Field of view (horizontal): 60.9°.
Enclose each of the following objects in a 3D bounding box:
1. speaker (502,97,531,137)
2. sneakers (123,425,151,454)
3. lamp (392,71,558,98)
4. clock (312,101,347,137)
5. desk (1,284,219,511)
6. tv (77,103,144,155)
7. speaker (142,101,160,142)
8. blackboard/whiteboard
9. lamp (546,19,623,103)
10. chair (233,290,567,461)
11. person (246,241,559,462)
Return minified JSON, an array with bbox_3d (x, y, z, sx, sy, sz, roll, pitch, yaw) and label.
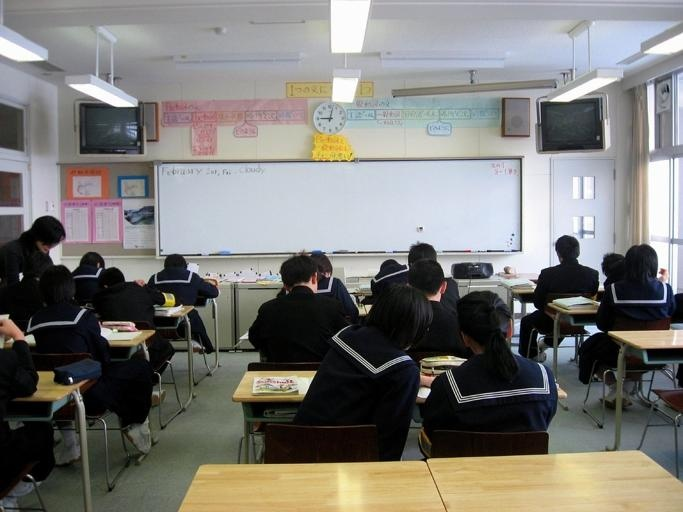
[{"bbox_3d":[2.267,-1.782,7.422,0.346,0.467,0.186,6,11,34],"label":"speaker"},{"bbox_3d":[-1.486,1.294,4.219,0.151,0.244,0.084,-20,11,-34],"label":"sneakers"},{"bbox_3d":[1.558,-2.054,7.043,1.876,0.174,0.674,-1,9,3],"label":"lamp"},{"bbox_3d":[-0.140,-1.736,7.370,0.476,0.466,0.080,0,2,0],"label":"clock"},{"bbox_3d":[-1.841,1.191,4.763,1.080,0.701,1.423,0,5,10],"label":"desk"},{"bbox_3d":[-2.877,-1.576,7.422,0.827,0.665,0.468,0,-1,-7],"label":"tv"},{"bbox_3d":[-2.430,-1.712,7.375,0.170,0.500,0.294,-2,9,0],"label":"speaker"},{"bbox_3d":[-0.083,-0.621,7.547,4.783,1.266,0.180,0,-2,4],"label":"blackboard/whiteboard"},{"bbox_3d":[2.546,-1.809,5.786,0.357,0.606,1.172,-1,7,-3],"label":"lamp"},{"bbox_3d":[0.350,0.554,2.779,1.171,0.853,0.857,0,13,-4],"label":"chair"},{"bbox_3d":[0.280,0.550,3.178,1.302,0.803,0.919,0,11,-3],"label":"person"}]
